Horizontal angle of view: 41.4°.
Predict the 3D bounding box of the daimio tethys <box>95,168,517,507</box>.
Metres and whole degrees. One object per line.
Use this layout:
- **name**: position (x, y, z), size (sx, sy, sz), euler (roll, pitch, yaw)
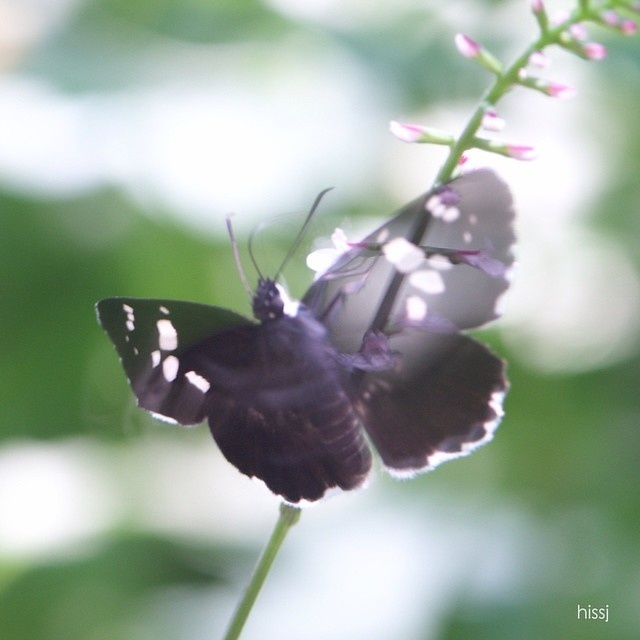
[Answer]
- **daimio tethys**: position (0.019, 0.009, 0.537), size (0.290, 0.099, 0.187), euler (-19, 74, -5)
